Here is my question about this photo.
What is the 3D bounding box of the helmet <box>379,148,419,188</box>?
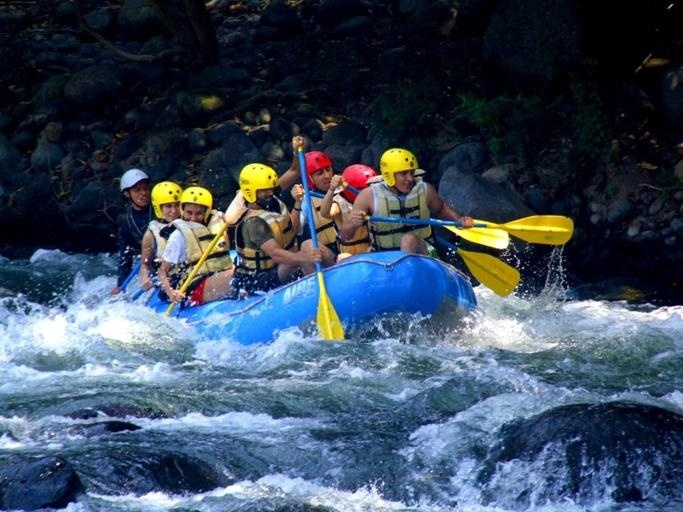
[{"bbox_3d":[0.655,-1.056,9.989,0.482,0.395,0.417,7,25,24],"label":"helmet"}]

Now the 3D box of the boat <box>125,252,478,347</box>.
[{"bbox_3d":[-0.384,0.569,9.629,2.393,0.494,1.386,-21,-17,29],"label":"boat"}]

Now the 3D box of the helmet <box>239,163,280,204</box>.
[{"bbox_3d":[-0.986,-0.875,10.072,0.486,0.394,0.392,8,24,12],"label":"helmet"}]

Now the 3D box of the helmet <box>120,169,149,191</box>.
[{"bbox_3d":[-2.769,-0.944,11.321,0.293,0.196,0.396,-29,-2,-32],"label":"helmet"}]

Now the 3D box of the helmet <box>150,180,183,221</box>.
[{"bbox_3d":[-2.168,-0.692,10.675,0.458,0.448,0.372,13,19,33],"label":"helmet"}]

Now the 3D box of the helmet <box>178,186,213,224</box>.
[{"bbox_3d":[-1.790,-0.591,10.376,0.314,0.357,0.372,8,-9,-30],"label":"helmet"}]

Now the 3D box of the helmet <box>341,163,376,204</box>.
[{"bbox_3d":[0.171,-0.915,10.759,0.503,0.447,0.383,-10,2,15],"label":"helmet"}]
